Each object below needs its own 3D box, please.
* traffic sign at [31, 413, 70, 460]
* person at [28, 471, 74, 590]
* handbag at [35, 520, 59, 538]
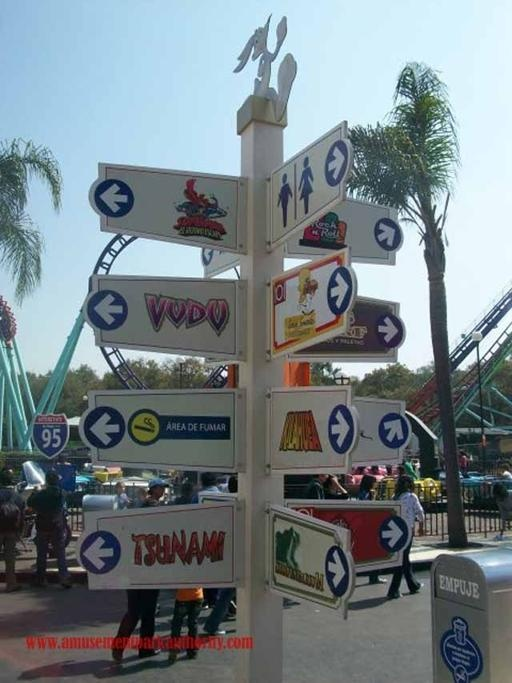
[{"bbox_3d":[-3.421,1.549,14.915,0.535,0.716,0.662,3,-7,-19],"label":"traffic sign"},{"bbox_3d":[-2.686,2.354,11.678,0.480,1.625,0.443,-1,17,-20],"label":"person"},{"bbox_3d":[-2.651,2.369,11.441,0.184,0.160,0.208,-3,-1,5],"label":"handbag"}]
